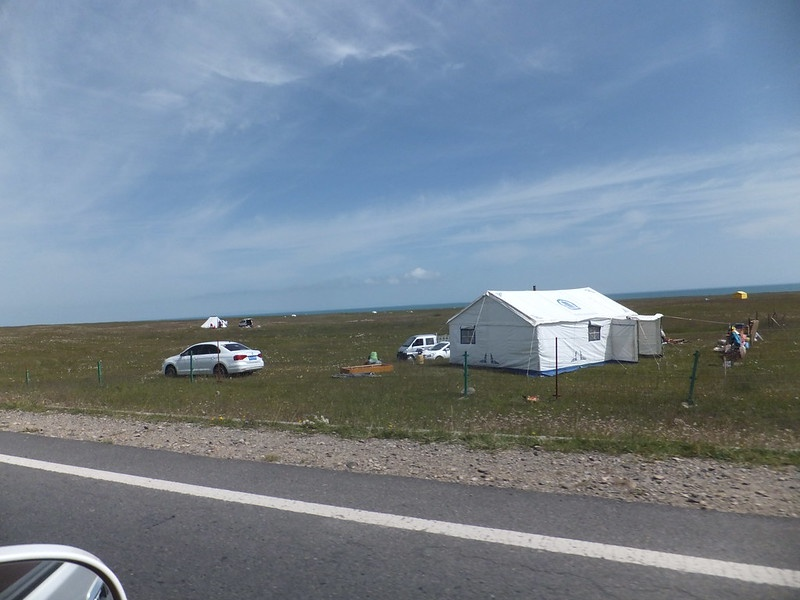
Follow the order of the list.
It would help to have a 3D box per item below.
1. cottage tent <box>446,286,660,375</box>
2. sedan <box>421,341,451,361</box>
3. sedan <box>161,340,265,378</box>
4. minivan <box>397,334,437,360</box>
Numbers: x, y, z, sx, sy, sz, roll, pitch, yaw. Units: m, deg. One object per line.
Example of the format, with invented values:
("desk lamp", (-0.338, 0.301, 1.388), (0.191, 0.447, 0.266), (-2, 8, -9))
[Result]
("cottage tent", (6.617, 1.287, 27.153), (6.647, 3.537, 4.955), (0, -1, -35))
("sedan", (1.825, 2.620, 31.504), (1.341, 0.676, 0.807), (5, -8, -35))
("sedan", (-7.521, 2.368, 24.350), (3.465, 1.095, 1.571), (1, -4, 8))
("minivan", (0.944, 2.456, 32.089), (1.894, 1.047, 1.090), (2, -5, -22))
